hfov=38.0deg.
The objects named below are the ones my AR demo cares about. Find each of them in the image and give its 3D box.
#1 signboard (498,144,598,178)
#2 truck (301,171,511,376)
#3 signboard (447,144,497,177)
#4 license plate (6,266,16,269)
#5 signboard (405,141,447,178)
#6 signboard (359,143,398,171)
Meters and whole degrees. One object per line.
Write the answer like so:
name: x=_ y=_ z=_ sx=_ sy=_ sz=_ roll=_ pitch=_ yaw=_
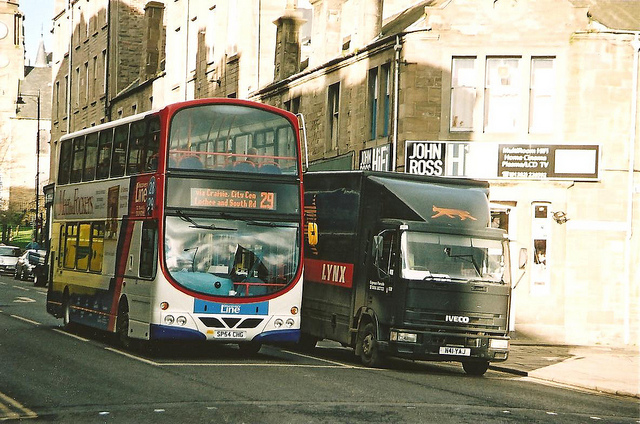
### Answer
signboard: x=7.892 y=-1.779 z=32.033 sx=3.332 sy=1.107 sz=0.333 roll=1 pitch=-4 yaw=6
truck: x=2.010 y=1.675 z=28.102 sx=3.925 sy=5.264 sz=10.072 roll=5 pitch=-3 yaw=-16
signboard: x=5.292 y=-1.801 z=32.189 sx=1.698 sy=1.119 sz=0.121 roll=1 pitch=-4 yaw=5
license plate: x=-17.865 y=3.190 z=53.373 sx=0.447 sy=0.158 sz=0.224 roll=3 pitch=-4 yaw=-15
signboard: x=3.700 y=-1.905 z=32.363 sx=1.443 sy=1.157 sz=0.267 roll=2 pitch=-4 yaw=3
signboard: x=2.003 y=-1.868 z=34.181 sx=0.110 sy=0.993 sz=1.647 roll=3 pitch=-3 yaw=-37
